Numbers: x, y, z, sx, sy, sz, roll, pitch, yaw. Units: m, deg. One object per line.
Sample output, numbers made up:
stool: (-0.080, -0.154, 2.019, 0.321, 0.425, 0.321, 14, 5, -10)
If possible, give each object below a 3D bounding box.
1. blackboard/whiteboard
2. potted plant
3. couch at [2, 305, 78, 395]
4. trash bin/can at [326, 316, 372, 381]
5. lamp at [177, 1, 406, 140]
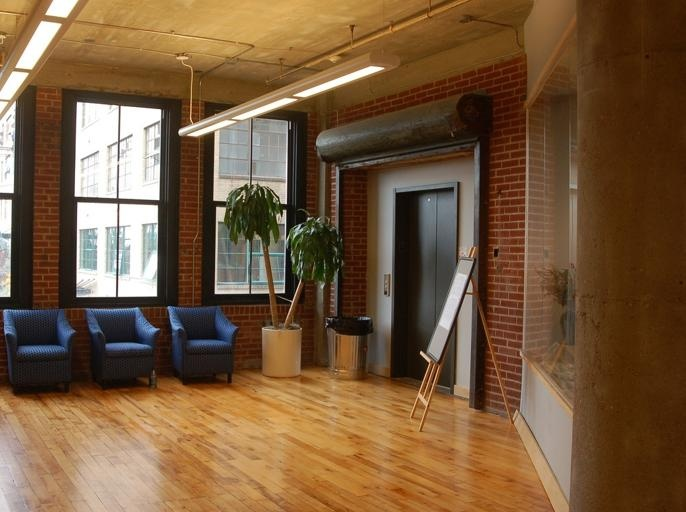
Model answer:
blackboard/whiteboard: (1.179, 0.566, 6.121, 0.480, 1.120, 0.612, 0, 1, -14)
potted plant: (-0.875, 0.364, 8.471, 1.702, 2.819, 0.989, 0, 1, -11)
couch: (-3.905, 1.206, 7.517, 1.039, 1.369, 0.992, 2, -8, -30)
trash bin/can: (0.095, 1.335, 8.417, 0.748, 0.908, 0.745, 3, -2, -42)
lamp: (-0.626, -1.712, 6.043, 0.381, 0.188, 3.451, 0, 1, -39)
